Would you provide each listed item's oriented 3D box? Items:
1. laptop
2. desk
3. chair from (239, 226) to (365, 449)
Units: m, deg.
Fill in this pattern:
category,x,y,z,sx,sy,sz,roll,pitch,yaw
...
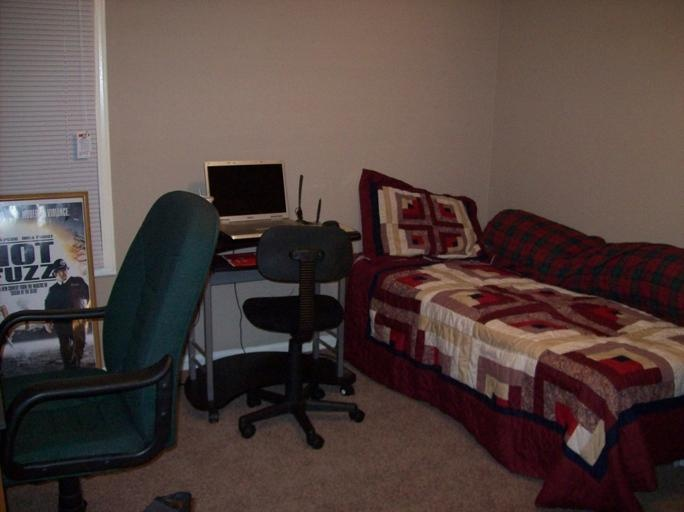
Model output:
category,x,y,z,sx,sy,sz,roll,pitch,yaw
laptop,-0.550,-0.365,3.137,0.551,0.410,0.464,-5,15,-31
desk,-0.281,0.294,3.071,1.056,1.162,0.974,-2,11,-21
chair,-0.215,0.359,2.771,0.658,1.106,0.524,0,14,3
